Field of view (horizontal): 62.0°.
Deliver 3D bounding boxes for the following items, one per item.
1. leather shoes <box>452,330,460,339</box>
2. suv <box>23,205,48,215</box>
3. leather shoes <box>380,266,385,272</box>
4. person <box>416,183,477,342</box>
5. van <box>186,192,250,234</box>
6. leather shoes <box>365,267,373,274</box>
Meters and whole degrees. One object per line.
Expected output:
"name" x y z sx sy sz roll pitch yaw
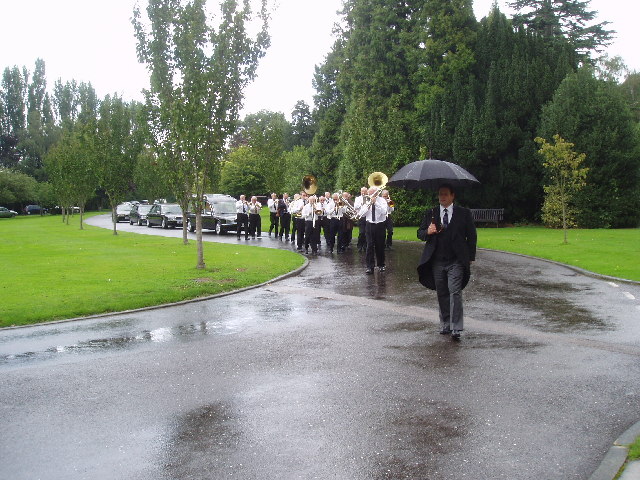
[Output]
"leather shoes" 2.087 1.465 8.195 0.095 0.154 0.060 -4 -15 13
"suv" -47.550 -5.071 89.054 2.651 1.426 1.833 -2 3 -6
"leather shoes" 1.893 0.870 16.008 0.206 0.129 0.153 -12 -4 -7
"person" 1.976 0.345 8.350 0.874 2.364 0.527 1 4 13
"van" -6.525 -1.644 33.861 2.228 2.463 5.755 -1 1 -32
"leather shoes" 1.461 0.903 15.651 0.238 0.149 0.358 0 5 4
